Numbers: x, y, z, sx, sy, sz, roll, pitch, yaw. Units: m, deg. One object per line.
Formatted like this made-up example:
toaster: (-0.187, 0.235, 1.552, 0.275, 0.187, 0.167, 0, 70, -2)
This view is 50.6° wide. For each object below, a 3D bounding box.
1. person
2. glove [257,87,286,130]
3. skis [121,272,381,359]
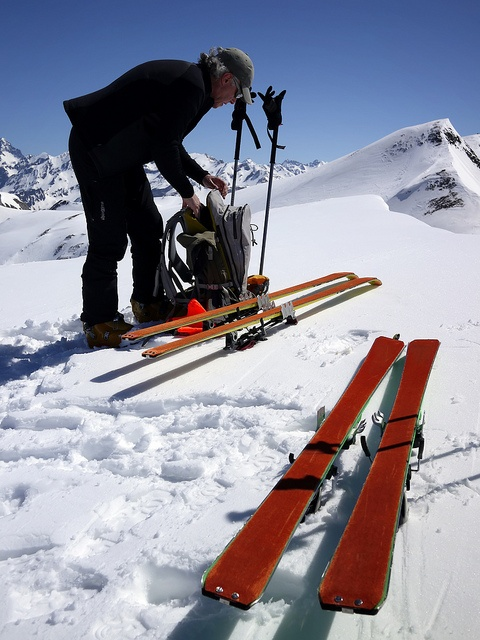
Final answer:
person: (-0.542, -0.762, 3.327, 1.155, 1.785, 1.246, -13, 10, -33)
glove: (0.312, -1.922, 4.595, 0.237, 0.398, 0.462, -7, 8, 5)
skis: (0.068, -0.024, 3.550, 0.276, 0.214, 1.605, 14, 23, 39)
